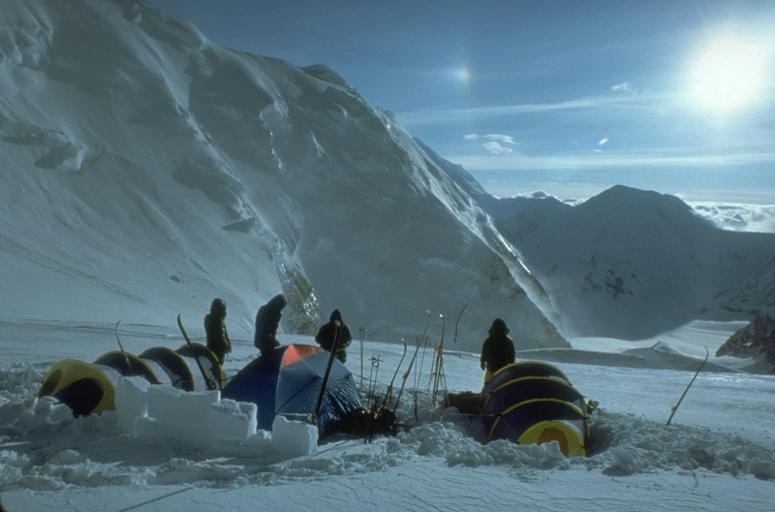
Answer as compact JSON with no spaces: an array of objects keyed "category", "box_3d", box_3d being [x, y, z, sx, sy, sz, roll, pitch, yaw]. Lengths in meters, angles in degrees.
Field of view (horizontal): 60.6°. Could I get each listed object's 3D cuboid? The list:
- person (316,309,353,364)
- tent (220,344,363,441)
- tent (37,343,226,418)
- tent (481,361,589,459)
[{"category":"person","box_3d":[-1.246,2.251,20.231,0.885,1.604,0.953,-3,25,39]},{"category":"tent","box_3d":[-2.563,3.514,17.530,2.866,1.307,2.605,16,-15,25]},{"category":"tent","box_3d":[-6.995,3.244,18.070,4.431,1.359,1.687,-7,16,-32]},{"category":"tent","box_3d":[3.851,4.094,17.474,2.866,1.980,2.072,10,16,31]}]
